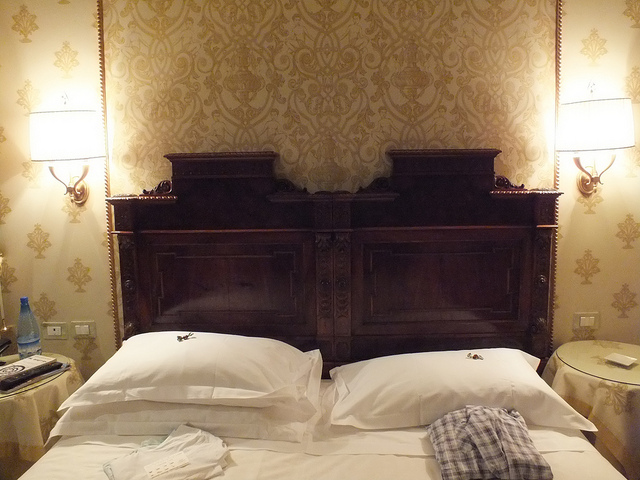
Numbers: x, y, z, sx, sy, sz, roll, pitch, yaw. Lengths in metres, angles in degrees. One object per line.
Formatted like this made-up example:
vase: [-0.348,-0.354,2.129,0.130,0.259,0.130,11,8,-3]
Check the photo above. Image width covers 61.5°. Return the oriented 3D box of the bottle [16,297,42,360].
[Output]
bottle: [-1.495,0.454,2.770,0.113,0.315,0.111,1,-4,0]

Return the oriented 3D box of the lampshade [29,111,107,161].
lampshade: [-1.307,-0.512,2.813,0.400,0.302,0.240,-1,12,-6]

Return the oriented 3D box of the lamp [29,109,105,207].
lamp: [-1.324,-0.420,2.831,0.348,0.509,0.284,-7,10,-36]
